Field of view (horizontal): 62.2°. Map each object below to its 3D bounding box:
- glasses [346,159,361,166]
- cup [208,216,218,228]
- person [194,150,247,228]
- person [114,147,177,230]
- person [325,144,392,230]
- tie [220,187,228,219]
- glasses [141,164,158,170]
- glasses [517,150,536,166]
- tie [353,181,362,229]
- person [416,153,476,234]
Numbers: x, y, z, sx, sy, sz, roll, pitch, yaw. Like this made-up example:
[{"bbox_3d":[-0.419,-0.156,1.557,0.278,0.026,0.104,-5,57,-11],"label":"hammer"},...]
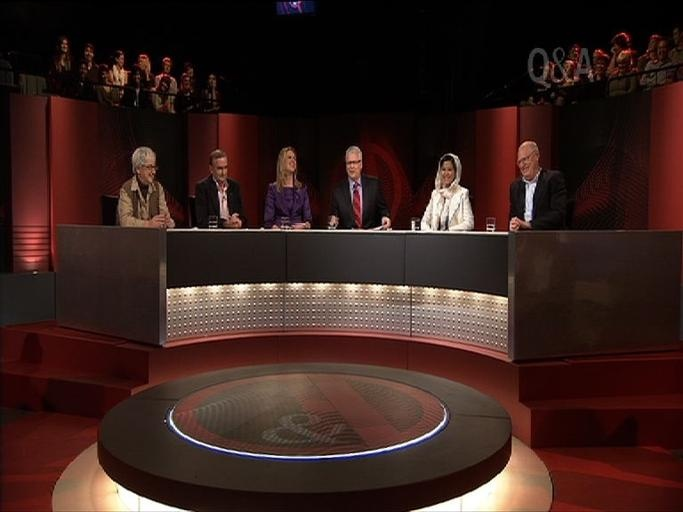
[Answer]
[{"bbox_3d":[0.166,-1.180,7.183,0.181,0.077,0.120,-1,6,-12],"label":"glasses"},{"bbox_3d":[-1.526,-0.398,6.728,0.100,0.139,0.357,-2,6,-15],"label":"cup"},{"bbox_3d":[-1.592,-0.852,7.385,0.666,0.992,1.109,-2,6,-14],"label":"person"},{"bbox_3d":[-2.495,-0.860,7.060,0.590,0.933,0.459,-3,6,-24],"label":"person"},{"bbox_3d":[0.238,-0.886,7.565,0.754,1.060,1.092,0,6,0],"label":"person"},{"bbox_3d":[-1.556,-0.685,7.558,0.062,0.319,0.208,-1,7,-7],"label":"tie"},{"bbox_3d":[-2.364,-1.094,7.015,0.111,0.095,0.328,0,6,-1],"label":"glasses"},{"bbox_3d":[2.314,-1.216,6.990,0.249,0.160,0.169,0,6,6],"label":"glasses"},{"bbox_3d":[0.232,-0.690,7.601,0.118,0.607,0.180,-1,5,-10],"label":"tie"},{"bbox_3d":[1.293,-0.766,6.898,0.530,0.907,0.698,-4,6,-31],"label":"person"}]
